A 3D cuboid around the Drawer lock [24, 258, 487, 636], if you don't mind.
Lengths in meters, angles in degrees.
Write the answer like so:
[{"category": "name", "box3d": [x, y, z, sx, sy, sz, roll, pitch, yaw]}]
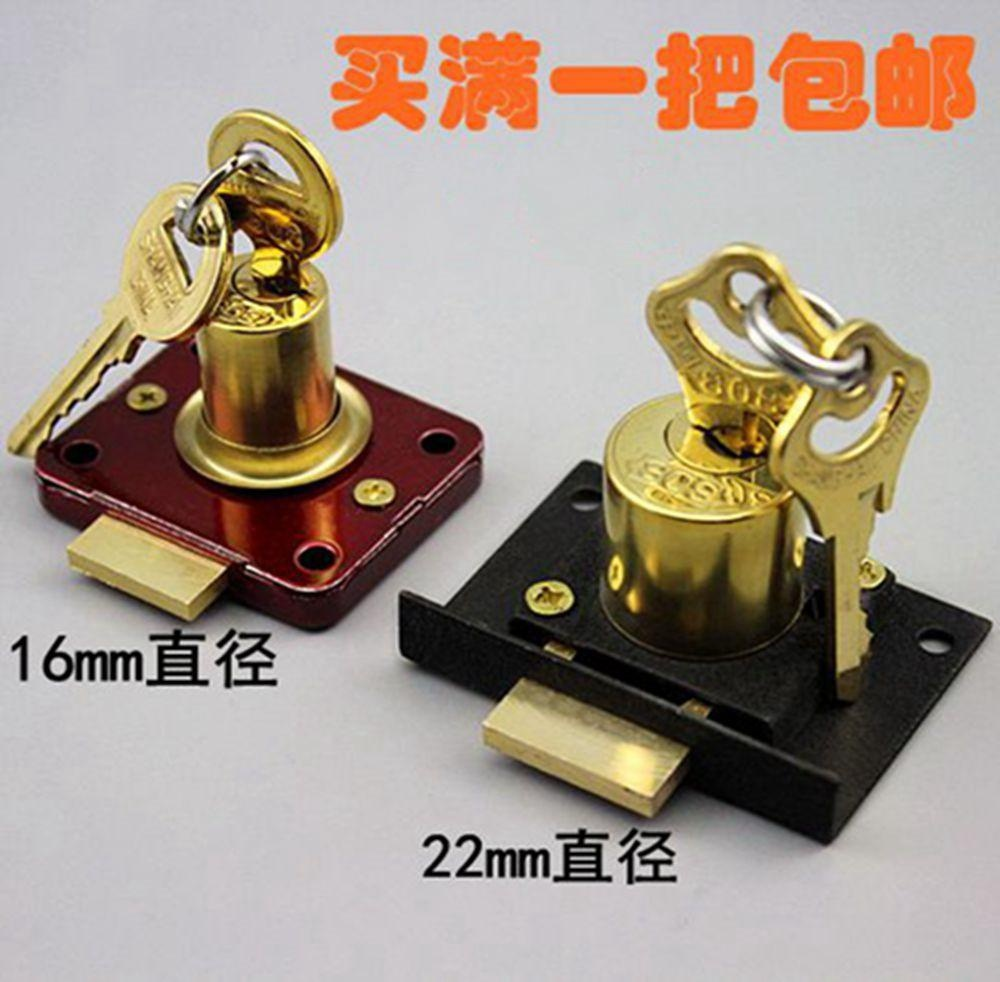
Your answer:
[{"category": "Drawer lock", "box3d": [-0.381, -0.019, 2.038, 0.674, 0.136, 0.683, 24, 44, 25]}]
